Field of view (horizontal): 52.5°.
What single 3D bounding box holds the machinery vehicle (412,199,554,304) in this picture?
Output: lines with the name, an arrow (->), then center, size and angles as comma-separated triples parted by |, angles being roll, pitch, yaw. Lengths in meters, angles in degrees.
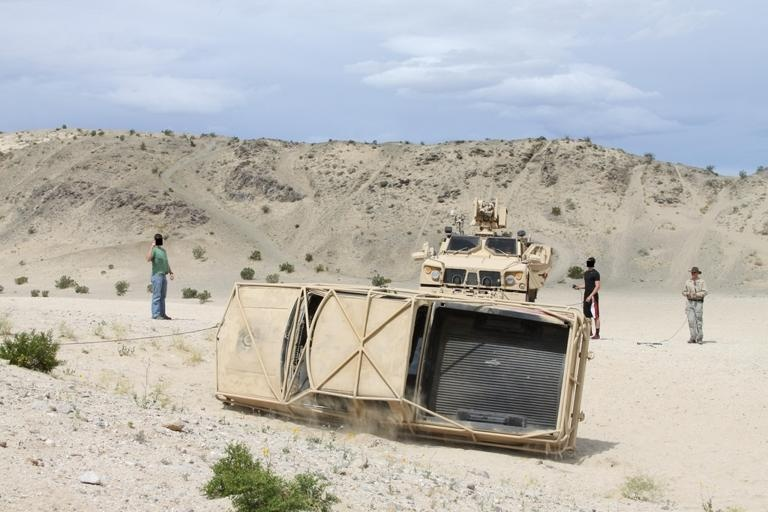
machinery vehicle -> 3.589, -0.135, 27.375 | 4.517, 3.483, 5.923 | 5, 15, 18

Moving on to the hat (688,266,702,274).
hat -> 15.714, 0.672, 39.431 | 0.481, 0.177, 0.527 | 3, -13, 20
